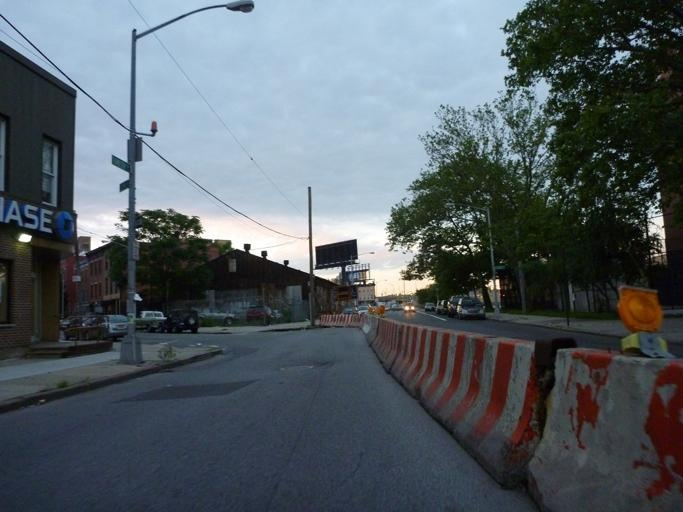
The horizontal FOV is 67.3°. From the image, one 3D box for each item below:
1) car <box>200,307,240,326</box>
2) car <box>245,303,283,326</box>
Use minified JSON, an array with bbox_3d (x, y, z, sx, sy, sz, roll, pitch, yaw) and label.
[{"bbox_3d":[-11.068,5.482,46.276,2.540,1.474,1.680,2,-6,9],"label":"car"},{"bbox_3d":[-6.823,5.085,44.503,1.434,1.280,2.772,-2,-2,23],"label":"car"}]
